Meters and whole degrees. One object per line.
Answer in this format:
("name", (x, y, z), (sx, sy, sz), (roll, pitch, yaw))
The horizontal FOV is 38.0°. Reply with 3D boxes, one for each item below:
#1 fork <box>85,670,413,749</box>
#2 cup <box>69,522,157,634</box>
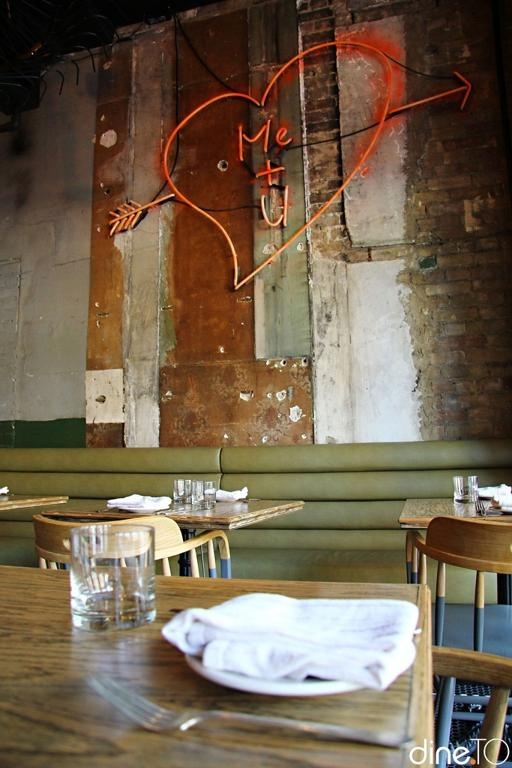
("fork", (0.000, 0.217, 0.489), (0.238, 0.032, 0.032), (4, -7, 9))
("cup", (-0.128, 0.170, 0.658), (0.077, 0.081, 0.075), (-1, -10, 0))
